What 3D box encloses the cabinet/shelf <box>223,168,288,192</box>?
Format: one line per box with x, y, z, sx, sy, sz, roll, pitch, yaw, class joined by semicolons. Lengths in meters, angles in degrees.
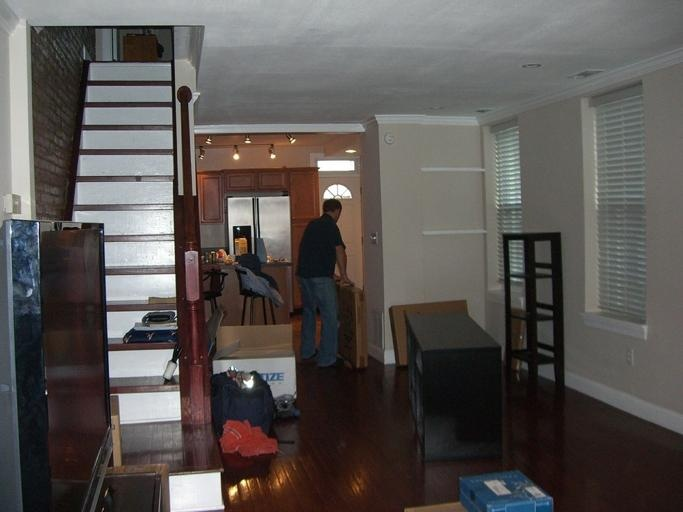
-1.406;-1.267;9.076;1.029;0.352;0.178;-1;6;7;cabinet/shelf

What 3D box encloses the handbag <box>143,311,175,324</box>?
-1.347;0.464;4.070;0.160;0.060;0.119;-2;4;-9;handbag

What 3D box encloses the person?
-0.212;0.293;5.769;0.479;1.765;0.393;-1;6;0;person

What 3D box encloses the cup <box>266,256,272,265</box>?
-1.099;0.059;8.460;0.110;0.111;0.116;0;-1;0;cup

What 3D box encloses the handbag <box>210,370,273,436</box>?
-0.736;1.081;4.185;0.347;0.513;0.495;-1;5;-7;handbag

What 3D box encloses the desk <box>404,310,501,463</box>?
0.684;0.883;4.094;0.608;1.343;0.808;0;0;-2;desk

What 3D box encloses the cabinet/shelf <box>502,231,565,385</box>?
1.795;0.467;5.292;0.476;1.425;0.892;-2;6;-5;cabinet/shelf

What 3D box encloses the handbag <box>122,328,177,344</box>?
-1.360;0.581;3.949;0.256;0.083;0.156;-2;-5;-5;handbag

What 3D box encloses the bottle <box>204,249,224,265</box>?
-1.848;0.019;8.015;0.298;0.171;0.442;0;4;-2;bottle

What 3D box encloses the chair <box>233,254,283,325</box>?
-0.914;0.416;6.001;0.490;0.858;0.429;-4;14;-20;chair

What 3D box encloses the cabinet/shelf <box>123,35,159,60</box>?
-2.130;-2.239;5.846;0.277;0.327;0.290;0;6;11;cabinet/shelf

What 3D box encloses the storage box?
-0.729;0.825;4.729;0.604;0.412;0.628;0;1;-7;storage box
